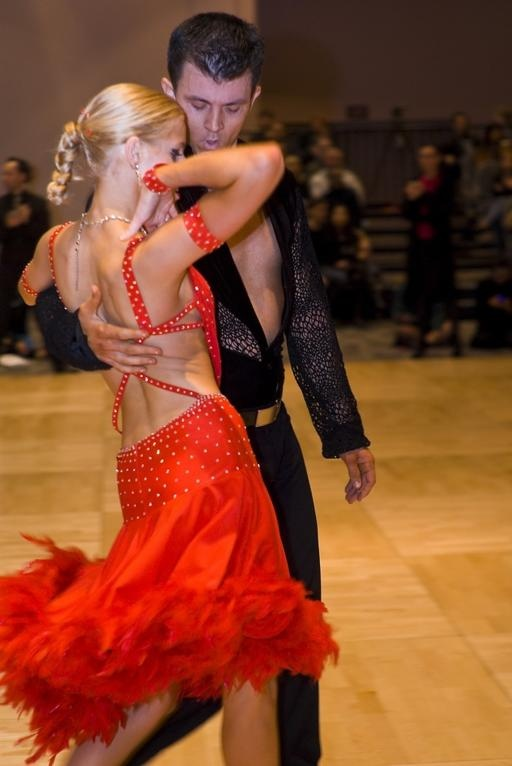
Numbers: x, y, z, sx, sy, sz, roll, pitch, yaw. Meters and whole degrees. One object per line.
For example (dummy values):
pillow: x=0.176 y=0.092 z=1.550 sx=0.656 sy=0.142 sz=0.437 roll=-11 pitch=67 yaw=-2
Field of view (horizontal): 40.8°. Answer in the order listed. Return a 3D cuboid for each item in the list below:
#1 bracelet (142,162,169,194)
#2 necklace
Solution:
bracelet: x=-0.157 y=-0.346 z=1.165 sx=0.043 sy=0.040 sz=0.051 roll=-30 pitch=30 yaw=-12
necklace: x=-0.266 y=-0.244 z=1.184 sx=0.115 sy=0.043 sz=0.103 roll=-4 pitch=54 yaw=5
